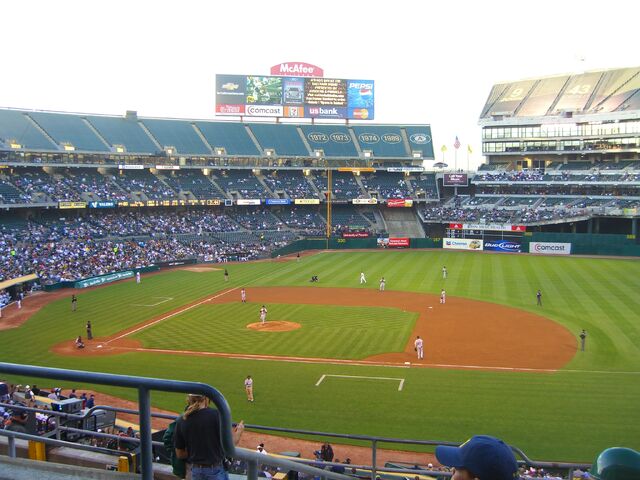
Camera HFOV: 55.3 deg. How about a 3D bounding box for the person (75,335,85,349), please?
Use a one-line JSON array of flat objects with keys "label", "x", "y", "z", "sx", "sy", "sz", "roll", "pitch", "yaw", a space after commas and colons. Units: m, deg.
[{"label": "person", "x": -13.761, "y": 5.806, "z": 35.037, "sx": 0.537, "sy": 0.726, "sz": 1.426, "roll": -3, "pitch": 1, "yaw": -22}]
